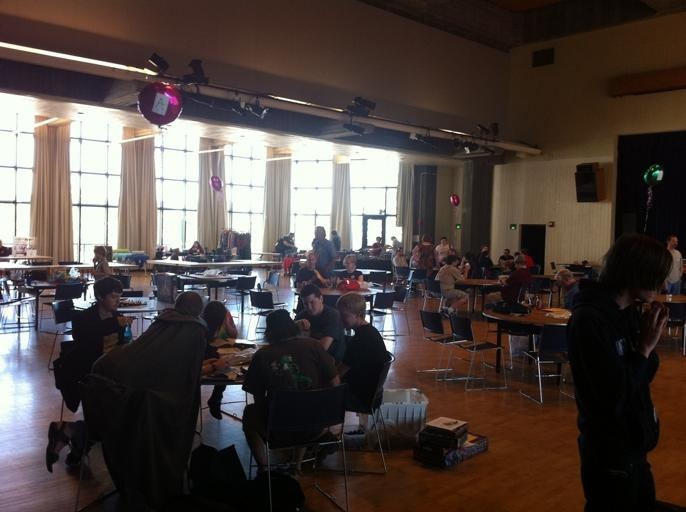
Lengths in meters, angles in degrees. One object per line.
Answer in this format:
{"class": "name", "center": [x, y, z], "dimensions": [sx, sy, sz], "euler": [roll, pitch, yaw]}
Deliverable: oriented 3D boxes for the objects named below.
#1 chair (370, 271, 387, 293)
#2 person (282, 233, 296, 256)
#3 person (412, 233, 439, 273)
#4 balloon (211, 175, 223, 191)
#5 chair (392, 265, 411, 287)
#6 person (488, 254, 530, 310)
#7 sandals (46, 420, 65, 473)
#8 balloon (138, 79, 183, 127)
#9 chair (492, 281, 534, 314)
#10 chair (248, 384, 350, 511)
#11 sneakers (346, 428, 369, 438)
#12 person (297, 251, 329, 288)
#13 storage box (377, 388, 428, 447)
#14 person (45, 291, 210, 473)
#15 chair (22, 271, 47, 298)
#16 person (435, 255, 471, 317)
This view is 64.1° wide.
{"class": "chair", "center": [0.667, 0.416, 11.277], "dimensions": [0.301, 0.543, 0.347], "euler": [0, 8, -4]}
{"class": "person", "center": [-1.794, -0.423, 18.189], "dimensions": [0.460, 0.627, 0.968], "euler": [0, 7, -3]}
{"class": "person", "center": [1.908, 0.055, 12.748], "dimensions": [0.559, 1.264, 0.362], "euler": [8, 27, 17]}
{"class": "balloon", "center": [-3.296, -1.919, 14.211], "dimensions": [0.254, 0.332, 0.695], "euler": [-1, 8, -16]}
{"class": "chair", "center": [1.495, 0.481, 14.032], "dimensions": [0.451, 0.732, 0.503], "euler": [3, 11, 16]}
{"class": "person", "center": [2.539, 0.383, 8.431], "dimensions": [0.442, 0.843, 0.527], "euler": [2, 4, -39]}
{"class": "sandals", "center": [-2.272, 1.486, 4.333], "dimensions": [0.147, 0.396, 0.146], "euler": [3, -6, -2]}
{"class": "balloon", "center": [-1.984, -1.757, 6.219], "dimensions": [0.535, 0.288, 0.559], "euler": [-1, -8, 2]}
{"class": "chair", "center": [2.289, 0.522, 7.442], "dimensions": [0.605, 0.656, 0.410], "euler": [2, -1, 5]}
{"class": "chair", "center": [-0.280, 1.270, 4.184], "dimensions": [0.724, 1.201, 0.815], "euler": [-2, 7, -17]}
{"class": "sneakers", "center": [0.128, 1.614, 5.022], "dimensions": [0.206, 0.089, 0.065], "euler": [1, -6, 3]}
{"class": "person", "center": [-0.471, 0.225, 8.612], "dimensions": [0.499, 0.526, 0.817], "euler": [0, 7, -11]}
{"class": "storage box", "center": [0.526, 1.486, 5.000], "dimensions": [0.544, 0.311, 0.845], "euler": [-1, -2, 0]}
{"class": "person", "center": [-1.882, 0.938, 4.678], "dimensions": [1.069, 1.553, 0.761], "euler": [3, 10, -18]}
{"class": "chair", "center": [-5.657, 0.471, 10.030], "dimensions": [0.465, 0.243, 0.830], "euler": [1, 8, -13]}
{"class": "person", "center": [2.114, 0.605, 10.642], "dimensions": [0.595, 1.220, 2.604], "euler": [2, 7, 14]}
